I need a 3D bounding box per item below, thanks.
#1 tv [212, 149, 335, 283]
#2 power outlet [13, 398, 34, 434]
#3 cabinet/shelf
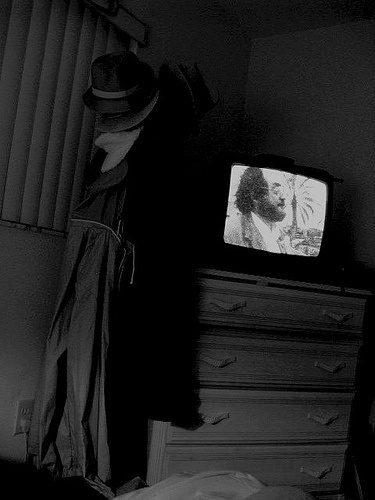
[{"bbox_3d":[0.372,-0.165,2.156,0.433,0.364,0.233,9,15,30],"label":"tv"},{"bbox_3d":[-0.581,0.592,2.086,0.056,0.120,0.042,8,4,-19],"label":"power outlet"},{"bbox_3d":[0.200,0.432,1.889,0.739,0.813,0.334,10,-16,-11],"label":"cabinet/shelf"}]
